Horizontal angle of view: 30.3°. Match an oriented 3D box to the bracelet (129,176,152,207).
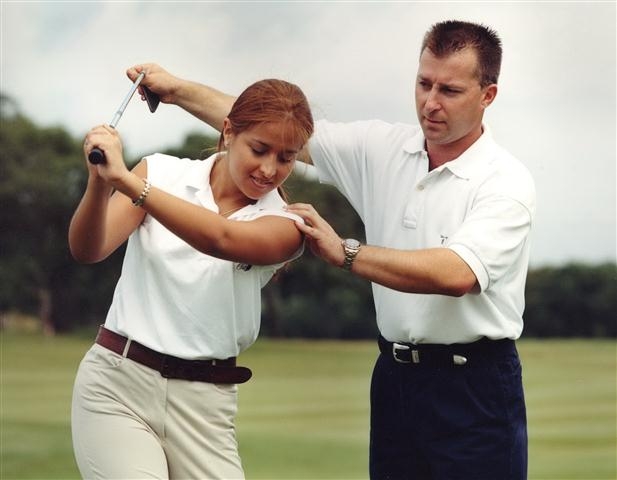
[{"bbox_3d":[-2.460,-0.684,16.656,0.276,0.373,0.066,0,-5,12],"label":"bracelet"}]
